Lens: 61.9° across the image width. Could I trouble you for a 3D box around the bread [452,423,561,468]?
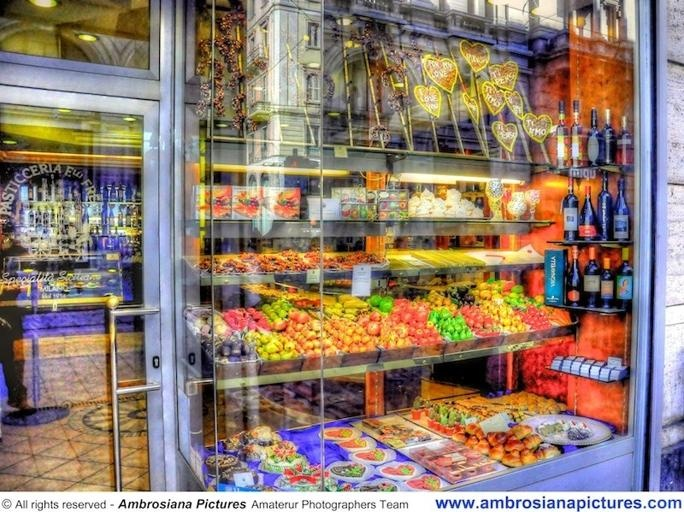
[{"bbox_3d":[0.928,1.072,3.233,0.225,0.081,0.298,2,0,-33],"label":"bread"}]
